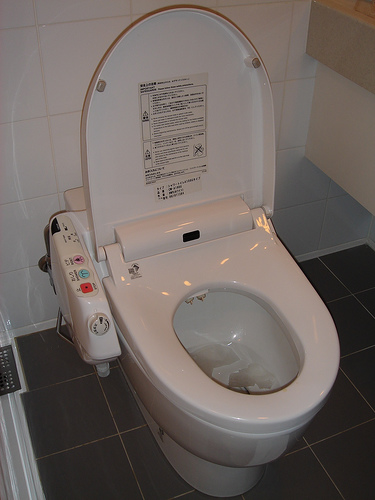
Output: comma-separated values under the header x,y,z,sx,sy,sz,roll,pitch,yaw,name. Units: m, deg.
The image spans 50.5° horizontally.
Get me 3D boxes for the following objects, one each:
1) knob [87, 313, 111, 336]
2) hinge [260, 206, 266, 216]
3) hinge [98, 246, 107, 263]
x,y,z,sx,sy,sz,roll,pitch,yaw,name
-0.162,0.133,0.722,0.033,0.039,0.021,-5,27,-13,knob
0.165,-0.084,0.875,0.014,0.011,0.013,14,14,-1,hinge
-0.161,0.007,0.752,0.014,0.028,0.020,-7,24,-3,hinge
